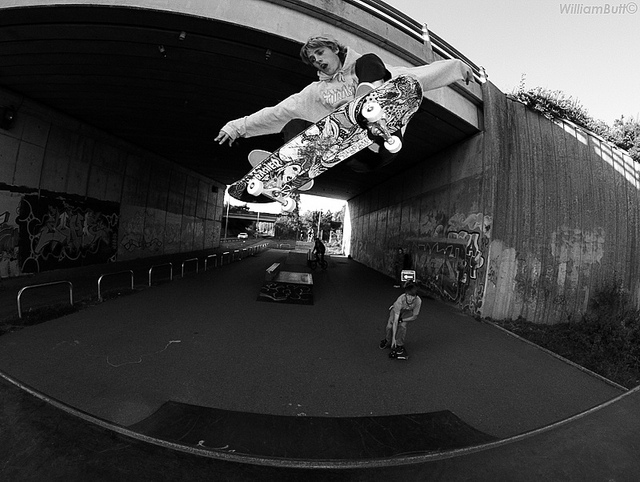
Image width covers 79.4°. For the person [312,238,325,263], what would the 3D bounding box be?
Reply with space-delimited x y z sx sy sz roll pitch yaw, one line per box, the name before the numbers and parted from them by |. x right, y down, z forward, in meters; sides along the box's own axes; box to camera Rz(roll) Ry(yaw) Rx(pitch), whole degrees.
person | -0.083 0.518 21.059 0.643 1.647 1.287 2 12 -2

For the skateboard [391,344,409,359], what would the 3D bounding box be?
skateboard | 1.883 2.609 9.051 0.401 0.267 0.350 8 13 17

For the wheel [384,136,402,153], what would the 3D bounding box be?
wheel | 1.433 -1.893 7.539 0.275 0.316 0.180 25 14 37

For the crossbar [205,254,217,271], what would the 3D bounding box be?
crossbar | -5.516 1.133 19.575 0.612 0.761 0.074 -1 -5 -2

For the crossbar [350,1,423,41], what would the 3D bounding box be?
crossbar | 1.929 -6.253 10.853 2.396 0.598 0.306 -3 13 -29

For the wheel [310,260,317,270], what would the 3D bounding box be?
wheel | -0.390 1.290 21.065 0.325 0.508 0.403 2 12 -4

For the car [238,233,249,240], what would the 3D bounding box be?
car | -11.681 -0.730 58.508 0.913 0.750 1.653 -1 -3 -3

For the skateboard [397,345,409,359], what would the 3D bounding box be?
skateboard | 1.921 2.661 8.980 0.238 0.327 0.166 -2 -15 5

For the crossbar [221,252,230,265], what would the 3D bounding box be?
crossbar | -5.533 1.044 22.563 0.583 0.879 0.550 1 1 15

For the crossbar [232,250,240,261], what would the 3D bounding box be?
crossbar | -5.235 0.928 24.087 0.601 0.887 0.551 2 0 -15

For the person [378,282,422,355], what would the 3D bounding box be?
person | 1.874 1.803 9.105 0.851 1.808 0.640 10 13 32

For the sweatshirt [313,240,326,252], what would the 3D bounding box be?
sweatshirt | -0.067 0.290 21.127 0.623 0.686 0.592 4 12 1

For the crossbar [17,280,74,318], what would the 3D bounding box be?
crossbar | -7.225 1.489 10.235 0.080 0.813 1.287 16 15 30
